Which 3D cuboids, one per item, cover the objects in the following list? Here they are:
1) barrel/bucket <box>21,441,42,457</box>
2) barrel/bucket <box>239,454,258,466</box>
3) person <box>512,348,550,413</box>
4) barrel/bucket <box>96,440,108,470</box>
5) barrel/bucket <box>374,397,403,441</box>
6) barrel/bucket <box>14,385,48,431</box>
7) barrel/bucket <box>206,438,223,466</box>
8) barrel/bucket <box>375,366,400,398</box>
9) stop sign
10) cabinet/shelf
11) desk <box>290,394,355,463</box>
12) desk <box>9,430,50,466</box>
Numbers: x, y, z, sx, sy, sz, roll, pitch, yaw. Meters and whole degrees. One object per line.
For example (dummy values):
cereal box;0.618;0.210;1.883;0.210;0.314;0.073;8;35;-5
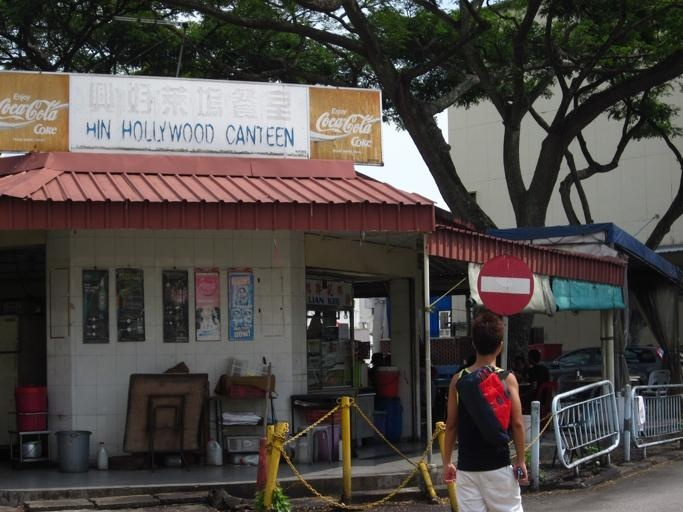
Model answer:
barrel/bucket;-6.098;3.798;24.286;0.317;0.235;0.249;-5;-6;44
barrel/bucket;-1.857;4.022;24.492;0.329;0.134;0.257;1;-5;-2
person;4.483;2.850;28.453;0.580;1.698;0.693;1;-5;-13
barrel/bucket;-4.680;3.898;24.150;0.229;0.550;0.400;-2;-8;-12
barrel/bucket;0.997;3.568;26.961;0.892;0.979;0.339;3;-10;-40
barrel/bucket;-6.098;3.027;24.790;0.710;1.277;0.817;-4;-6;21
barrel/bucket;-2.508;3.892;24.456;0.328;0.496;0.222;-2;-8;-14
barrel/bucket;0.994;2.790;27.411;0.567;0.633;0.605;0;-5;0
stop sign;3.099;0.539;23.129;0.729;1.244;0.828;0;0;26
cabinet/shelf;-2.075;3.488;24.716;1.109;1.346;0.551;-3;-8;-7
desk;-0.473;3.506;25.380;1.230;1.544;1.189;1;-1;-24
desk;-6.212;3.759;24.502;0.702;0.720;0.724;1;-3;-17
